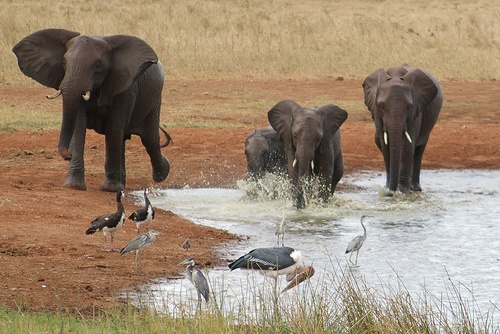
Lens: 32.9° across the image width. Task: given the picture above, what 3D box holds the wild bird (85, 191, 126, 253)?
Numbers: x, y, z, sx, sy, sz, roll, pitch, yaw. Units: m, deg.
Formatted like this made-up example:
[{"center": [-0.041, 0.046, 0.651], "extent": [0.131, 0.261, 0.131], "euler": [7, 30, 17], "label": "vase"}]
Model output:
[{"center": [-2.797, 1.043, 16.556], "extent": [0.701, 1.084, 0.973], "euler": [-2, 10, -9], "label": "wild bird"}]

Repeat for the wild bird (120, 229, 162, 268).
[{"center": [-1.979, 1.538, 15.545], "extent": [0.852, 0.756, 0.220], "euler": [-6, -12, 15], "label": "wild bird"}]

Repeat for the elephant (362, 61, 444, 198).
[{"center": [3.983, -0.955, 21.912], "extent": [1.696, 3.204, 2.306], "euler": [3, 10, 23], "label": "elephant"}]

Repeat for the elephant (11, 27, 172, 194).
[{"center": [-3.374, -1.303, 20.755], "extent": [3.363, 3.647, 4.549], "euler": [6, 4, 27], "label": "elephant"}]

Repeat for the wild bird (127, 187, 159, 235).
[{"center": [-2.224, 0.887, 17.520], "extent": [0.521, 0.908, 1.785], "euler": [-2, 9, -8], "label": "wild bird"}]

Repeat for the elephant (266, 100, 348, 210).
[{"center": [1.415, -0.316, 20.083], "extent": [1.737, 2.413, 1.382], "euler": [0, 10, 4], "label": "elephant"}]

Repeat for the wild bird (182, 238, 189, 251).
[{"center": [-1.243, 1.493, 16.513], "extent": [0.117, 0.252, 0.196], "euler": [11, 37, 0], "label": "wild bird"}]

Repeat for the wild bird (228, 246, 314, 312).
[{"center": [0.392, 1.932, 15.011], "extent": [1.510, 1.043, 0.452], "euler": [3, -5, -11], "label": "wild bird"}]
